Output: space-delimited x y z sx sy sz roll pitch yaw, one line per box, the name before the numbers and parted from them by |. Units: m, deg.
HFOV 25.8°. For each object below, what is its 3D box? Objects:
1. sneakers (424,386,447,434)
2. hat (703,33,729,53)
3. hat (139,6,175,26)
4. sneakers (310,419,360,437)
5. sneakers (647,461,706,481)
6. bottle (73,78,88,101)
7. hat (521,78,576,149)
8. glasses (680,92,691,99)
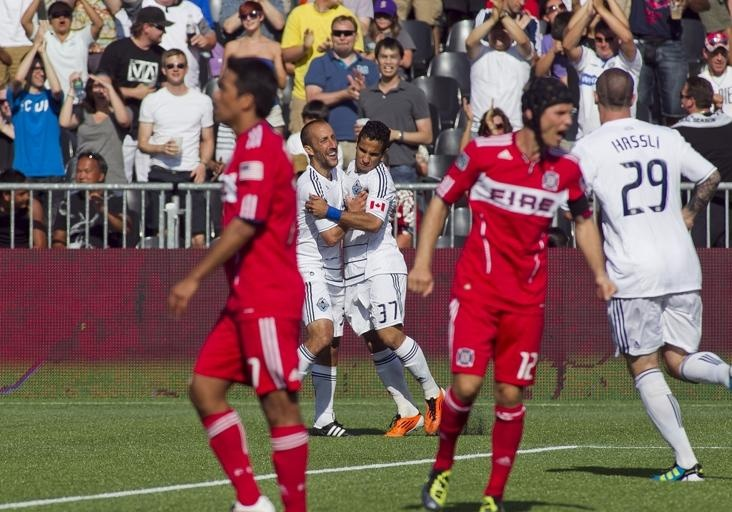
sneakers | 0.701 1.630 16.605 0.149 0.538 0.213 5 0 24
hat | 4.502 -2.787 20.632 0.197 0.196 0.305 -1 4 3
hat | -2.730 -3.090 20.439 0.306 0.180 0.240 -3 22 -19
sneakers | -0.339 1.788 16.663 0.447 0.239 0.169 -2 -2 3
sneakers | 2.884 2.020 14.840 0.499 0.258 0.187 2 -4 7
bottle | -3.618 -2.140 20.258 0.135 0.303 0.268 0 -6 -1
hat | 1.514 -1.290 14.261 0.449 0.756 0.536 -2 0 -7
glasses | 3.596 -1.838 18.014 0.098 0.036 0.105 14 6 -1
